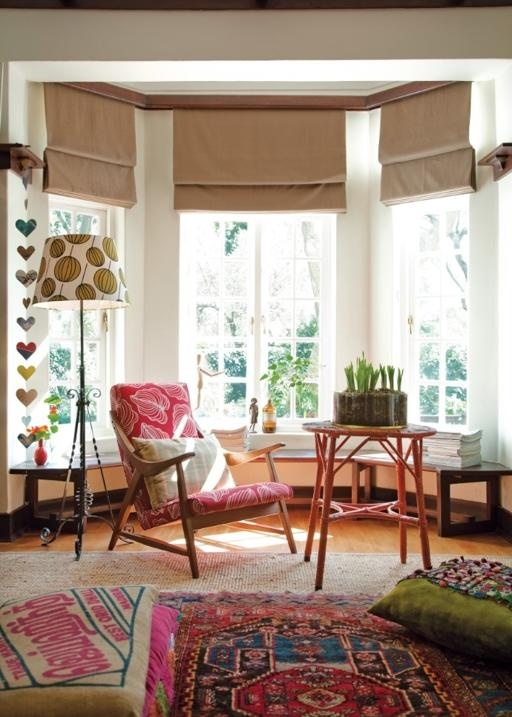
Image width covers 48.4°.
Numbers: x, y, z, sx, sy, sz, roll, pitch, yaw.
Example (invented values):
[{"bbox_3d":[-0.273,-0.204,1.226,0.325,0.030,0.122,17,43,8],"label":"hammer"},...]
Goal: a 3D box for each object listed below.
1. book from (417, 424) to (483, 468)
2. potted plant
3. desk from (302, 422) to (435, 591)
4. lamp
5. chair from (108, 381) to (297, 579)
[{"bbox_3d":[1.099,0.497,3.295,0.366,0.183,0.294,0,2,35],"label":"book"},{"bbox_3d":[0.489,0.144,2.408,0.303,0.290,0.218,1,-4,-9],"label":"potted plant"},{"bbox_3d":[0.496,0.642,2.513,0.544,0.644,0.501,2,-7,9],"label":"desk"},{"bbox_3d":[-0.941,0.201,2.964,0.432,1.560,0.936,2,-5,-22],"label":"lamp"},{"bbox_3d":[-0.312,0.537,2.786,0.796,0.842,0.648,-4,-5,36],"label":"chair"}]
